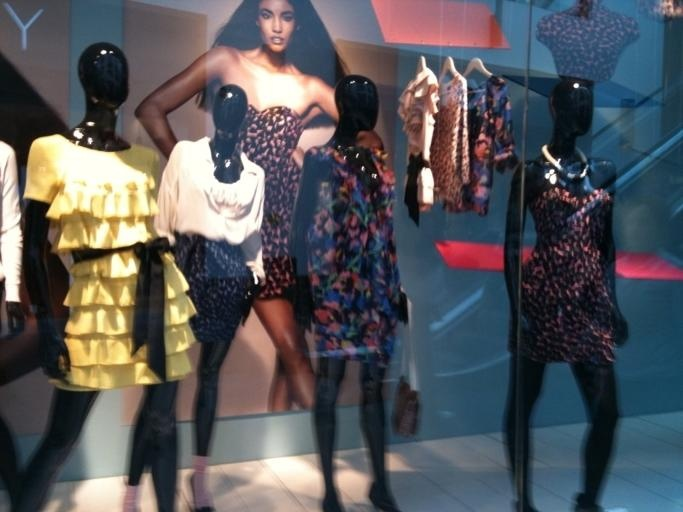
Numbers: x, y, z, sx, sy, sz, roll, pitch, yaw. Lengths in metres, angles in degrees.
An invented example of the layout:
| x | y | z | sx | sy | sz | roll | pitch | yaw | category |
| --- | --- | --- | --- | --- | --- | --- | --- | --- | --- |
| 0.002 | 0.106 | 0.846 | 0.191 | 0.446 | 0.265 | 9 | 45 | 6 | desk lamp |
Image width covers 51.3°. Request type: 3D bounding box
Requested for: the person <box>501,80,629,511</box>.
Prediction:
| x | y | z | sx | sy | sz | roll | pitch | yaw | category |
| --- | --- | --- | --- | --- | --- | --- | --- | --- | --- |
| 1.050 | 0.188 | 3.372 | 0.604 | 2.006 | 0.519 | -4 | -13 | 11 | person |

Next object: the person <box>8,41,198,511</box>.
| x | y | z | sx | sy | sz | roll | pitch | yaw | category |
| --- | --- | --- | --- | --- | --- | --- | --- | --- | --- |
| -1.012 | 0.086 | 2.877 | 0.726 | 1.845 | 0.438 | -4 | -13 | 12 | person |

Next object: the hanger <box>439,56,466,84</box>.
| x | y | z | sx | sy | sz | roll | pitch | yaw | category |
| --- | --- | --- | --- | --- | --- | --- | --- | --- | --- |
| 0.523 | -0.886 | 3.397 | 0.125 | 0.075 | 0.010 | 5 | 5 | 43 | hanger |
